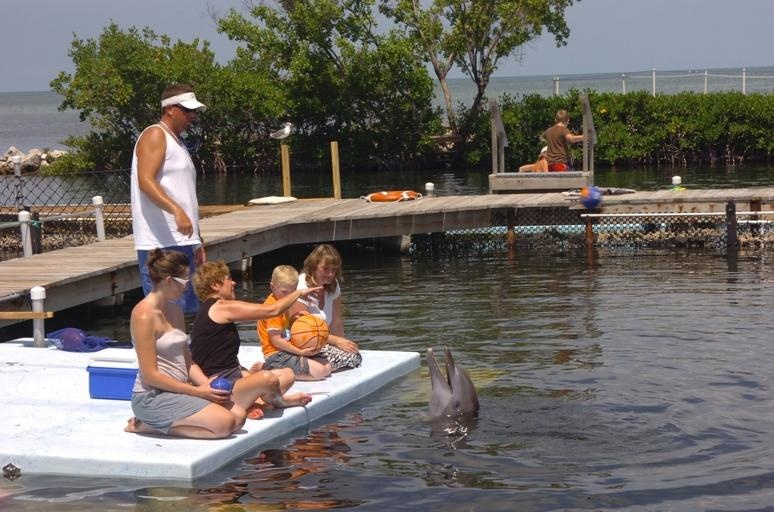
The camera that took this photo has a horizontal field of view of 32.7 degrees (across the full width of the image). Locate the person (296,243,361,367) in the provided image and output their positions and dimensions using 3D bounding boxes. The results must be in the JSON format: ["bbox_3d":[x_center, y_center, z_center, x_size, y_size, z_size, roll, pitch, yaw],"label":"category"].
[{"bbox_3d":[-0.984,0.814,21.417,0.961,2.021,1.061,4,0,-30],"label":"person"}]

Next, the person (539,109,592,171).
[{"bbox_3d":[4.207,-2.340,31.452,0.771,2.157,1.469,-7,13,-22],"label":"person"}]

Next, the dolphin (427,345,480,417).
[{"bbox_3d":[1.050,1.919,20.423,0.823,1.118,0.473,-4,4,-7],"label":"dolphin"}]

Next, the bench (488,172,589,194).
[{"bbox_3d":[3.596,-1.766,31.333,2.590,0.515,0.542,-1,5,37],"label":"bench"}]

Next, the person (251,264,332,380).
[{"bbox_3d":[-1.435,0.992,20.866,1.411,1.819,0.951,2,1,7],"label":"person"}]

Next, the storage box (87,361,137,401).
[{"bbox_3d":[-4.197,1.938,20.865,0.781,0.546,0.968,3,3,1],"label":"storage box"}]

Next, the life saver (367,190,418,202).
[{"bbox_3d":[0.178,-1.439,31.610,1.311,0.240,1.690,-3,3,-1],"label":"life saver"}]

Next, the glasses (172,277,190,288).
[{"bbox_3d":[-2.999,0.372,19.545,0.125,0.165,0.295,-2,4,29],"label":"glasses"}]
